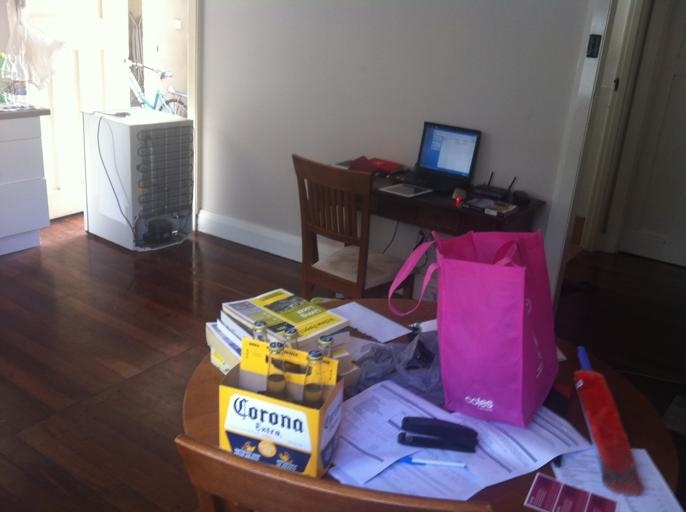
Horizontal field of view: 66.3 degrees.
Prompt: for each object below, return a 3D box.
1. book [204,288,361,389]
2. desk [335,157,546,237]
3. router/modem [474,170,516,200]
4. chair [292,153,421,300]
[{"bbox_3d":[-0.176,0.182,1.437,0.272,0.107,0.290,-18,37,-42],"label":"book"},{"bbox_3d":[0.550,-0.300,2.850,0.904,0.298,0.578,19,29,38],"label":"desk"},{"bbox_3d":[0.886,-0.390,3.032,0.185,0.120,0.188,22,38,36],"label":"router/modem"},{"bbox_3d":[0.060,-0.178,2.917,0.519,0.900,0.552,-14,24,-38],"label":"chair"}]
